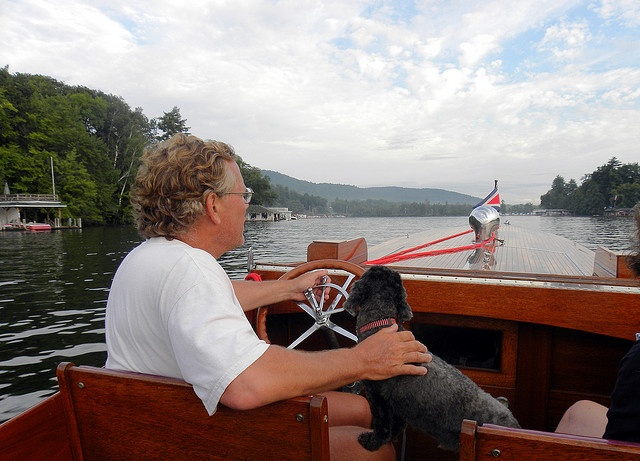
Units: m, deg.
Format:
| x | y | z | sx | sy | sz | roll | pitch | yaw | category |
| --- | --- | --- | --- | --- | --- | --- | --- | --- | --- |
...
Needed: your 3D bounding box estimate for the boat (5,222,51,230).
| x | y | z | sx | sy | sz | roll | pitch | yaw | category |
| --- | --- | --- | --- | --- | --- | --- | --- | --- | --- |
| -30.813 | -0.358 | 39.401 | 5.078 | 0.734 | 1.592 | 1 | 4 | 12 | boat |
